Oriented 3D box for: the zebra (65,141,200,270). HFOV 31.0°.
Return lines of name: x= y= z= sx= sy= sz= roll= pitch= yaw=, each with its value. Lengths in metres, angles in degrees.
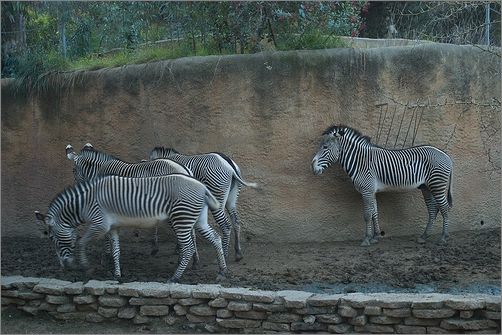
zebra: x=-1.989 y=0.763 z=14.765 sx=3.142 sy=2.193 sz=0.857 roll=5 pitch=7 yaw=28
